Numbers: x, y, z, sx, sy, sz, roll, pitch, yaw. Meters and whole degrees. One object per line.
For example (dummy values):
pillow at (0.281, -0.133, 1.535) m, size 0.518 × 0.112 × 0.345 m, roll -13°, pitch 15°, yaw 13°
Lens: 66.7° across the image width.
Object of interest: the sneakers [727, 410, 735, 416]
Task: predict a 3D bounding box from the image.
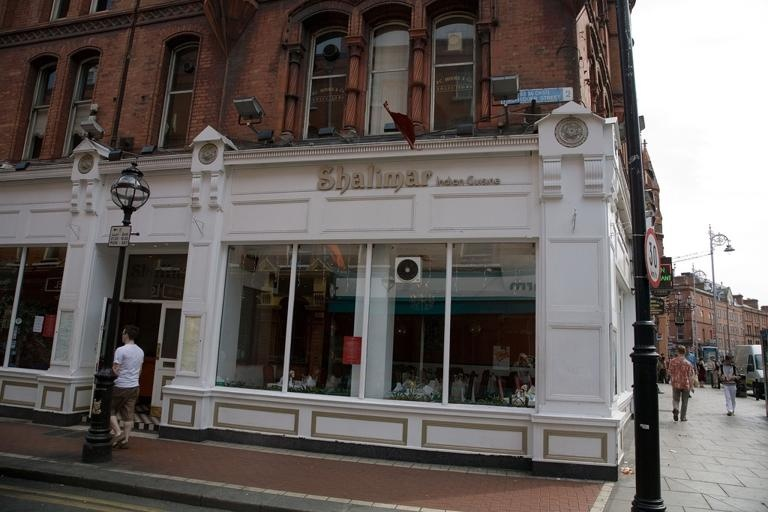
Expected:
sneakers at (12.282, 5.487, 20.535) m, size 0.170 × 0.208 × 0.515 m, roll 0°, pitch 2°, yaw 26°

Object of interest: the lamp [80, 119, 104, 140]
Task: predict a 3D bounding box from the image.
lamp at (-8.704, -3.780, 17.266) m, size 0.582 × 0.778 × 1.370 m, roll 1°, pitch 3°, yaw -26°

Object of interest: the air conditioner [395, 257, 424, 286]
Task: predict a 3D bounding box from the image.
air conditioner at (0.637, 0.386, 14.341) m, size 0.709 × 0.644 × 0.273 m, roll 0°, pitch -11°, yaw 15°

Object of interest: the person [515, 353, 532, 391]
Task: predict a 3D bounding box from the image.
person at (3.264, 2.636, 13.496) m, size 0.408 × 0.806 × 0.125 m, roll 2°, pitch 1°, yaw 14°

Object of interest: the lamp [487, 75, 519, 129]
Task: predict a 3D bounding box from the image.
lamp at (2.985, -3.884, 14.492) m, size 0.698 × 1.385 × 0.632 m, roll 2°, pitch 2°, yaw 10°

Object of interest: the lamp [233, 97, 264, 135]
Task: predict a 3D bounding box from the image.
lamp at (-3.700, -3.878, 15.890) m, size 0.921 × 0.759 × 0.923 m, roll -4°, pitch -6°, yaw -14°
